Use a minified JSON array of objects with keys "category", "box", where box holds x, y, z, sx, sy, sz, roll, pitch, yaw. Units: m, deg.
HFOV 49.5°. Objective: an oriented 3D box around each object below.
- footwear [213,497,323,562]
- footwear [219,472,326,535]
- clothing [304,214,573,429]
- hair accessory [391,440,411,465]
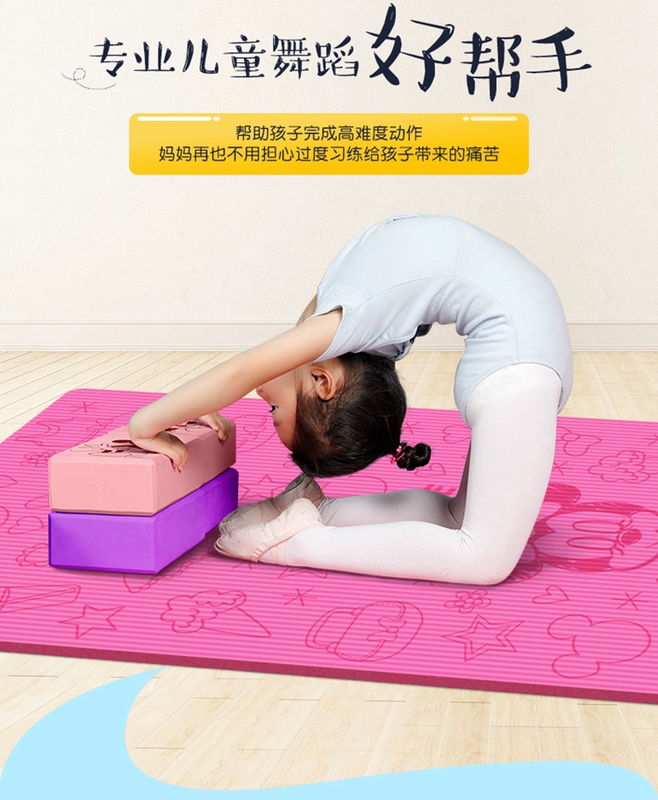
[{"category":"footwear","box":[-0.097,0.222,1.185,0.173,0.056,0.095,-19,-3,7]},{"category":"footwear","box":[-0.098,0.177,1.286,0.261,0.090,0.075,-10,6,-6]},{"category":"clothing","box":[0.136,-0.128,1.149,0.431,0.210,0.309,15,22,10]},{"category":"hair accessory","box":[0.113,0.088,1.206,0.016,0.042,0.032,43,64,8]}]
